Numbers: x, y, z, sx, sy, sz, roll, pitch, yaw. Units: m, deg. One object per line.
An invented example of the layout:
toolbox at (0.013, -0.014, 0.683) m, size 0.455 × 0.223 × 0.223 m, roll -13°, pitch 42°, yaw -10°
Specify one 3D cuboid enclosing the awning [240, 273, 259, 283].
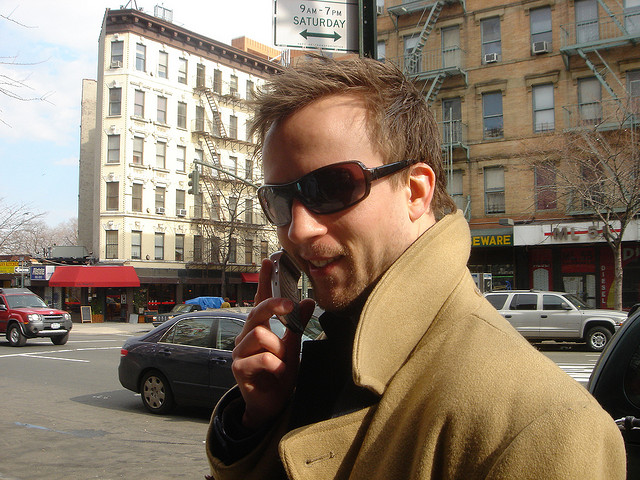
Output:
awning at (-4.925, 2.560, 50.998) m, size 0.948 × 0.779 × 1.665 m, roll -1°, pitch 3°, yaw 16°
